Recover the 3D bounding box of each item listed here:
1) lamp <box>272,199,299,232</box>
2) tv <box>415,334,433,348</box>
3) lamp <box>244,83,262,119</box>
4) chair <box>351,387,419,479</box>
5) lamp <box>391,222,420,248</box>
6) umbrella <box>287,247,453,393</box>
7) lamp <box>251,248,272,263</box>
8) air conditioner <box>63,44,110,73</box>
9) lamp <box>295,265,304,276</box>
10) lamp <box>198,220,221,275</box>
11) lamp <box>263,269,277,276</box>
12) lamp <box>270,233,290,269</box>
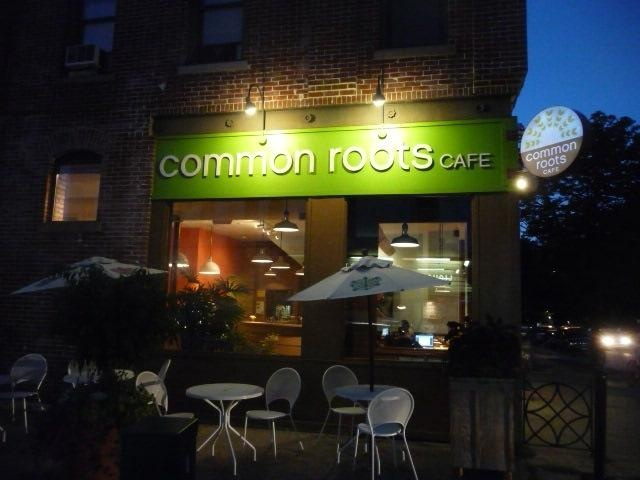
[{"bbox_3d":[-0.693,-0.457,13.512,0.546,0.618,0.546,0,0,2],"label":"lamp"},{"bbox_3d":[1.977,1.908,12.340,0.347,0.274,0.208,-2,-21,9],"label":"tv"},{"bbox_3d":[-1.317,-2.773,12.872,0.342,0.773,0.594,2,-9,-7],"label":"lamp"},{"bbox_3d":[1.101,3.057,10.495,0.908,1.426,1.802,-1,-9,8],"label":"chair"},{"bbox_3d":[1.718,-0.100,13.110,0.478,0.516,0.479,1,0,-9],"label":"lamp"},{"bbox_3d":[0.628,1.339,10.618,1.946,2.180,2.054,3,-9,-17],"label":"umbrella"},{"bbox_3d":[-1.371,0.396,14.931,0.347,0.245,0.377,1,-9,-5],"label":"lamp"},{"bbox_3d":[-4.979,-3.830,13.806,0.651,0.434,0.683,4,6,7],"label":"air conditioner"},{"bbox_3d":[-0.404,0.625,13.192,0.192,0.207,0.195,3,-8,-18],"label":"lamp"},{"bbox_3d":[-2.510,0.287,15.054,0.437,1.116,0.967,1,-9,-5],"label":"lamp"},{"bbox_3d":[-1.081,0.744,14.208,0.266,0.141,0.192,2,-9,-13],"label":"lamp"},{"bbox_3d":[-0.881,0.362,14.163,0.469,0.874,0.487,1,-4,-5],"label":"lamp"}]
